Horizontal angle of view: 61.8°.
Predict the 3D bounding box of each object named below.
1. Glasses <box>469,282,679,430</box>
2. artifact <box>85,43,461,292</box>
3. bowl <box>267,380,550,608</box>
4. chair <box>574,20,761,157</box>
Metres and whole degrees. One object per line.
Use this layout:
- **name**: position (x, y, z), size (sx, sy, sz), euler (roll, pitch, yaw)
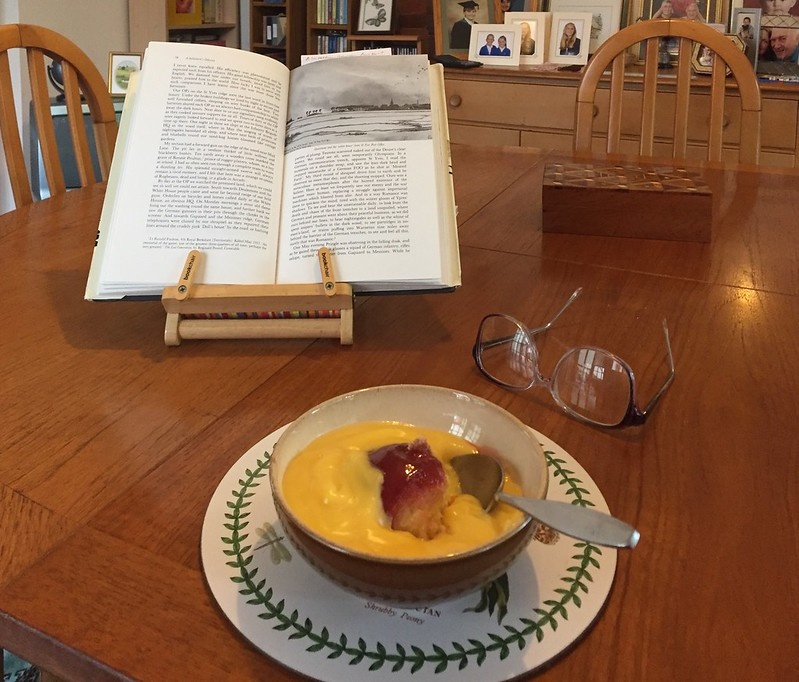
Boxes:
- **Glasses**: position (0.221, 0.013, 0.721), size (0.211, 0.063, 0.205), euler (-12, 26, -36)
- **artifact**: position (-0.093, -0.221, 0.824), size (0.465, 0.332, 0.088), euler (3, -1, 29)
- **bowl**: position (0.038, 0.104, 0.483), size (0.096, 0.202, 0.205), euler (29, 12, 16)
- **chair**: position (0.618, -0.552, 1.497), size (0.353, 0.303, 0.336), euler (-10, 30, -22)
